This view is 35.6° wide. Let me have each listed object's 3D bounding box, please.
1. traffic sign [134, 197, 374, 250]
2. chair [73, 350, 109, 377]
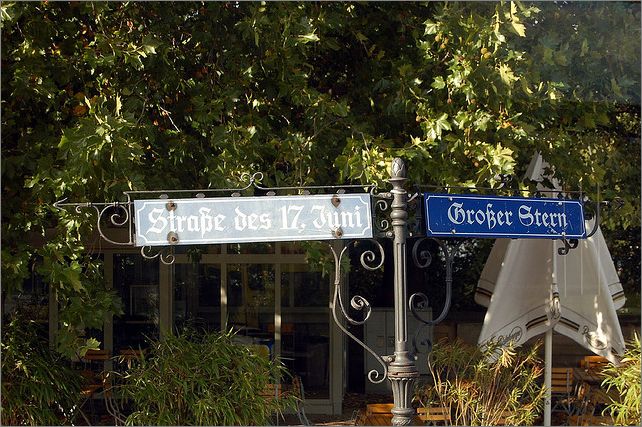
[{"bbox_3d":[-0.695,0.048,10.269,2.431,0.473,0.110,-2,-8,-4],"label":"traffic sign"},{"bbox_3d":[-3.576,2.342,15.535,0.570,0.378,1.553,0,-10,-14],"label":"chair"}]
